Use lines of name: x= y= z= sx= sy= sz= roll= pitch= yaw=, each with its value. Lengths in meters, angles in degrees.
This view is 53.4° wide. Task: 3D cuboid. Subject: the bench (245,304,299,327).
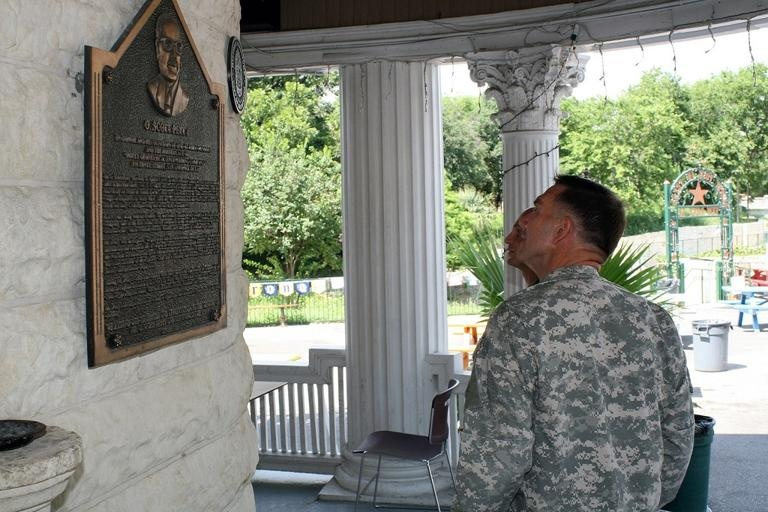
bench: x=-3.308 y=1.757 z=23.192 sx=1.658 sy=0.647 sz=0.767 roll=-1 pitch=2 yaw=-3

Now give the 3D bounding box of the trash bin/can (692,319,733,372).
trash bin/can: x=4.846 y=1.330 z=11.327 sx=0.481 sy=0.819 sz=0.641 roll=0 pitch=2 yaw=22

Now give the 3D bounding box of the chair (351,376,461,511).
chair: x=0.214 y=1.559 z=6.288 sx=0.786 sy=1.160 sz=0.959 roll=-1 pitch=2 yaw=4
